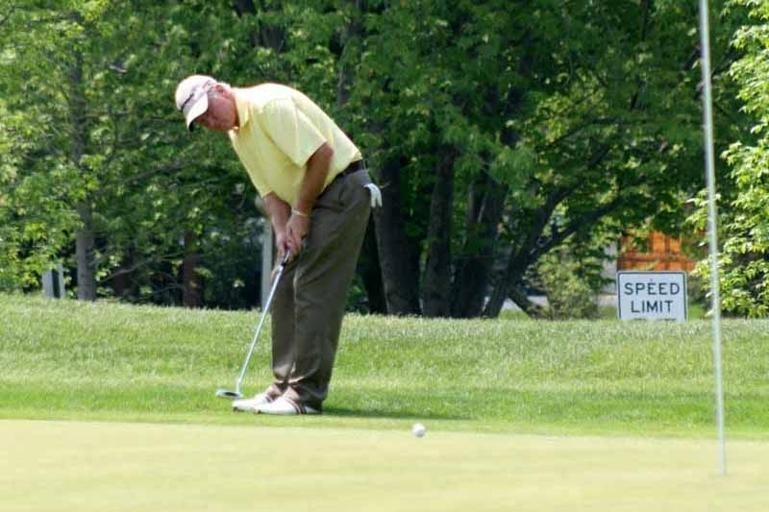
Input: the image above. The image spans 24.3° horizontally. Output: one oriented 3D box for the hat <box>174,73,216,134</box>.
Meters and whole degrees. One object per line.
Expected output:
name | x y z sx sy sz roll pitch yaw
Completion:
hat | -3.245 -2.683 30.350 0.498 0.927 0.636 34 -47 -11
